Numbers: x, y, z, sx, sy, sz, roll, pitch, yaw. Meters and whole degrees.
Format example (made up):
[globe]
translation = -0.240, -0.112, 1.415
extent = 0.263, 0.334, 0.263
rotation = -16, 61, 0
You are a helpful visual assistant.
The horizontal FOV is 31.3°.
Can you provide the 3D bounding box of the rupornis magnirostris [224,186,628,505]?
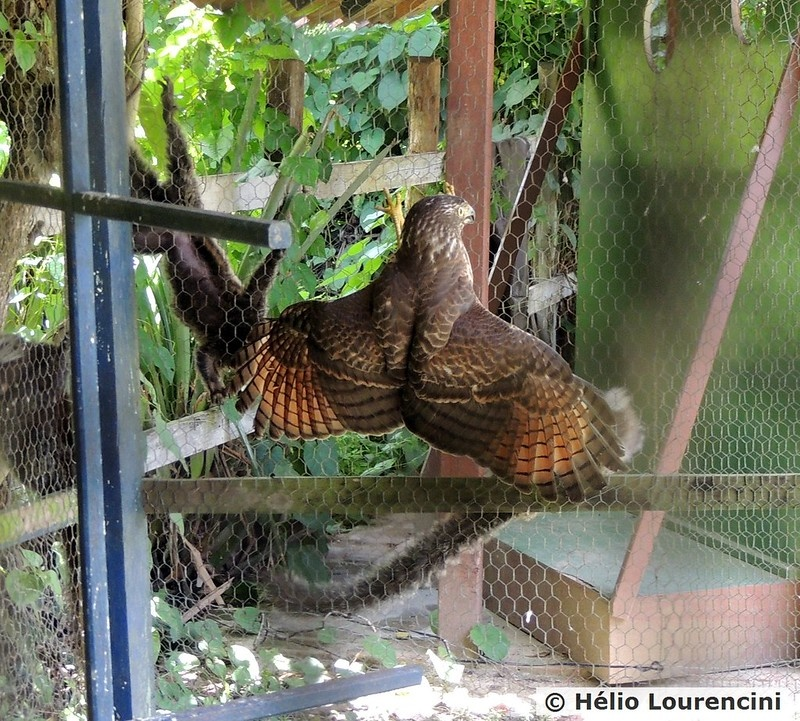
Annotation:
[rupornis magnirostris]
translation = 0.063, -0.037, 3.144
extent = 0.874, 0.616, 0.232
rotation = 3, 24, 16
